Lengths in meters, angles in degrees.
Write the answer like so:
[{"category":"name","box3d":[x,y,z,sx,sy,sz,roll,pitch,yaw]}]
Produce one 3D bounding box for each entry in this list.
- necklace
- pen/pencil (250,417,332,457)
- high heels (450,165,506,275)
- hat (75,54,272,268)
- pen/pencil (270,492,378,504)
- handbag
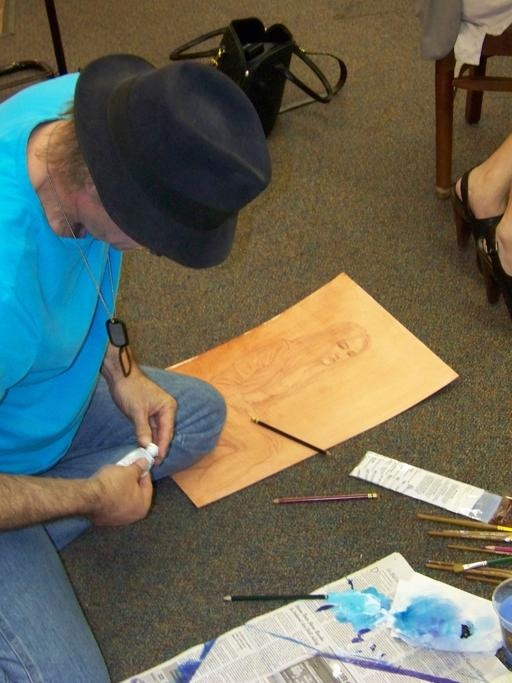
[{"category":"necklace","box3d":[-0.252,-0.115,0.940,0.017,0.335,0.092,-10,8,34]},{"category":"pen/pencil","box3d":[0.087,0.227,1.480,0.176,0.012,0.014,27,21,21]},{"category":"high heels","box3d":[0.567,-0.331,1.681,0.092,0.244,0.095,-20,15,10]},{"category":"hat","box3d":[-0.133,-0.258,0.904,0.247,0.263,0.319,-25,43,-31]},{"category":"pen/pencil","box3d":[0.157,0.341,1.375,0.268,0.019,0.022,0,28,1]},{"category":"handbag","box3d":[0.013,-0.858,2.026,0.595,0.254,0.509,19,16,16]}]
